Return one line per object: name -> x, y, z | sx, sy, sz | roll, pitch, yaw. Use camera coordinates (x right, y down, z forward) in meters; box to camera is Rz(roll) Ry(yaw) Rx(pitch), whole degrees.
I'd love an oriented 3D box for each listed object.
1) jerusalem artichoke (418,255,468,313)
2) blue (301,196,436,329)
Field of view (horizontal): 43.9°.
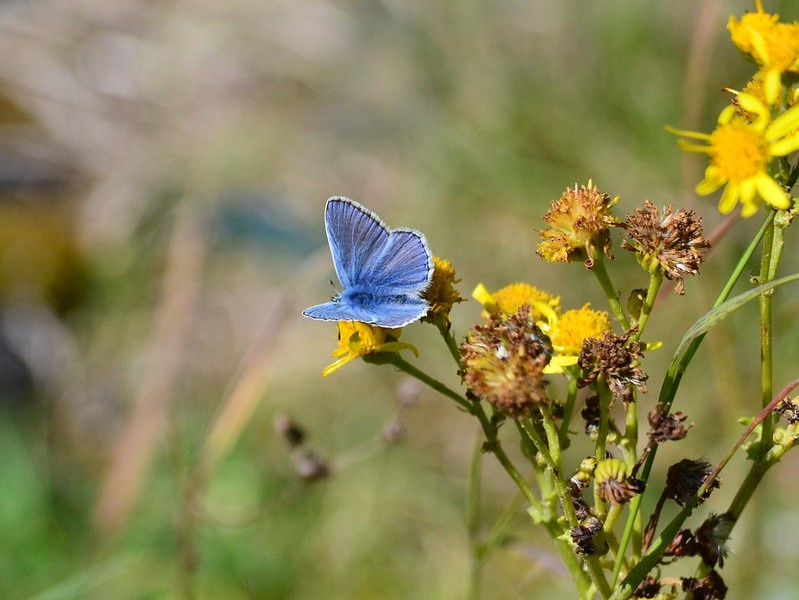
jerusalem artichoke -> 0.066, -0.026, 1.799 | 0.078, 0.059, 0.088 | -3, 20, 10
blue -> -0.060, -0.026, 1.846 | 0.292, 0.128, 0.296 | -10, -40, -27
